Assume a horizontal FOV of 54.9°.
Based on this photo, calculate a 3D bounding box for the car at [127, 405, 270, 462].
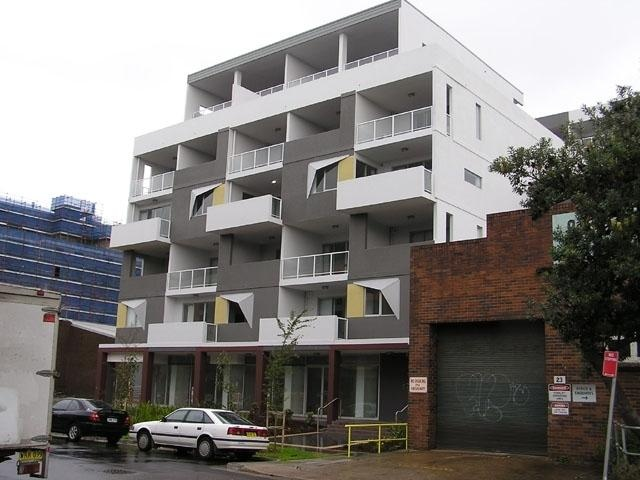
[{"bbox_3d":[-4.351,7.012,22.194,4.802,1.751,0.952,-10,-19,26],"label":"car"}]
